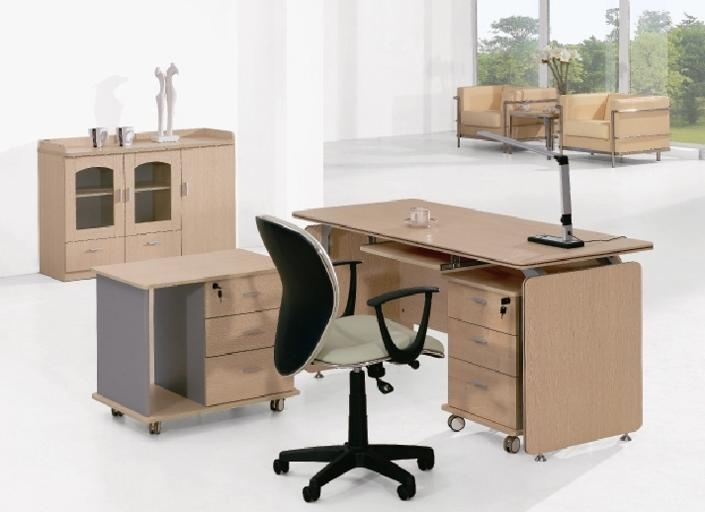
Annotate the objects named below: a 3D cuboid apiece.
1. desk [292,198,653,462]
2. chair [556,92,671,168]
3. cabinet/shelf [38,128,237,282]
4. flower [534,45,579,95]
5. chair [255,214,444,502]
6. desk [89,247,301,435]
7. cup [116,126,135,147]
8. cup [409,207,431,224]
[{"bbox_3d":[0.755,0.420,4.119,0.844,1.019,1.977,-5,6,-24],"label":"desk"},{"bbox_3d":[4.678,-2.416,11.990,1.317,1.022,1.512,-11,18,-26],"label":"chair"},{"bbox_3d":[-2.093,-0.494,6.159,1.506,1.034,0.519,-7,9,-38],"label":"cabinet/shelf"},{"bbox_3d":[4.088,-3.586,13.087,0.805,1.022,0.712,-7,5,39],"label":"flower"},{"bbox_3d":[0.009,0.462,3.171,0.870,1.230,0.850,2,4,14],"label":"chair"},{"bbox_3d":[-0.943,0.514,3.760,0.624,0.810,1.001,2,3,40],"label":"desk"},{"bbox_3d":[-2.233,-1.185,6.532,0.196,0.230,0.192,1,10,0],"label":"cup"},{"bbox_3d":[0.396,-0.233,3.865,0.123,0.106,0.077,-1,6,1],"label":"cup"}]
